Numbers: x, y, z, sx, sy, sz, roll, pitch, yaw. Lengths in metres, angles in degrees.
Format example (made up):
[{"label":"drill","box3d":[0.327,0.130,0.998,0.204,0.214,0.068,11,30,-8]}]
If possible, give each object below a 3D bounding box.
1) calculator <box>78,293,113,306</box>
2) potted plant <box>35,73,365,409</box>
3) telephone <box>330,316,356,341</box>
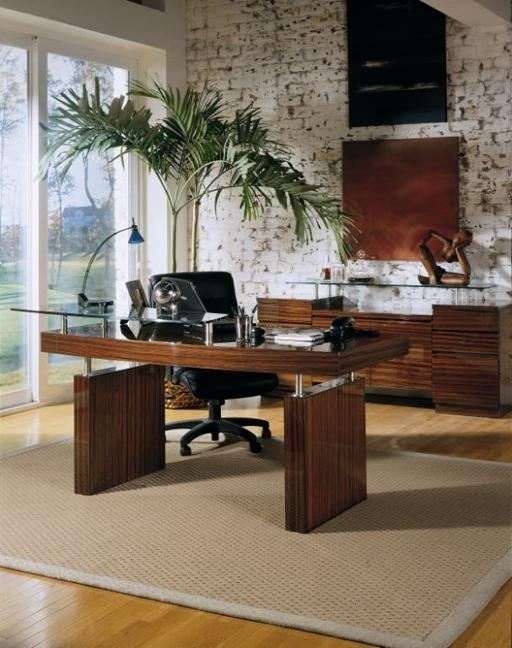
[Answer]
[{"label":"calculator","box3d":[-0.852,-0.124,3.166,0.177,0.076,0.224,-1,-1,-13]},{"label":"potted plant","box3d":[-0.245,-0.865,5.544,2.974,2.762,2.000,-2,2,-41]},{"label":"telephone","box3d":[0.355,0.019,2.570,0.091,0.091,0.114,-2,0,31]}]
